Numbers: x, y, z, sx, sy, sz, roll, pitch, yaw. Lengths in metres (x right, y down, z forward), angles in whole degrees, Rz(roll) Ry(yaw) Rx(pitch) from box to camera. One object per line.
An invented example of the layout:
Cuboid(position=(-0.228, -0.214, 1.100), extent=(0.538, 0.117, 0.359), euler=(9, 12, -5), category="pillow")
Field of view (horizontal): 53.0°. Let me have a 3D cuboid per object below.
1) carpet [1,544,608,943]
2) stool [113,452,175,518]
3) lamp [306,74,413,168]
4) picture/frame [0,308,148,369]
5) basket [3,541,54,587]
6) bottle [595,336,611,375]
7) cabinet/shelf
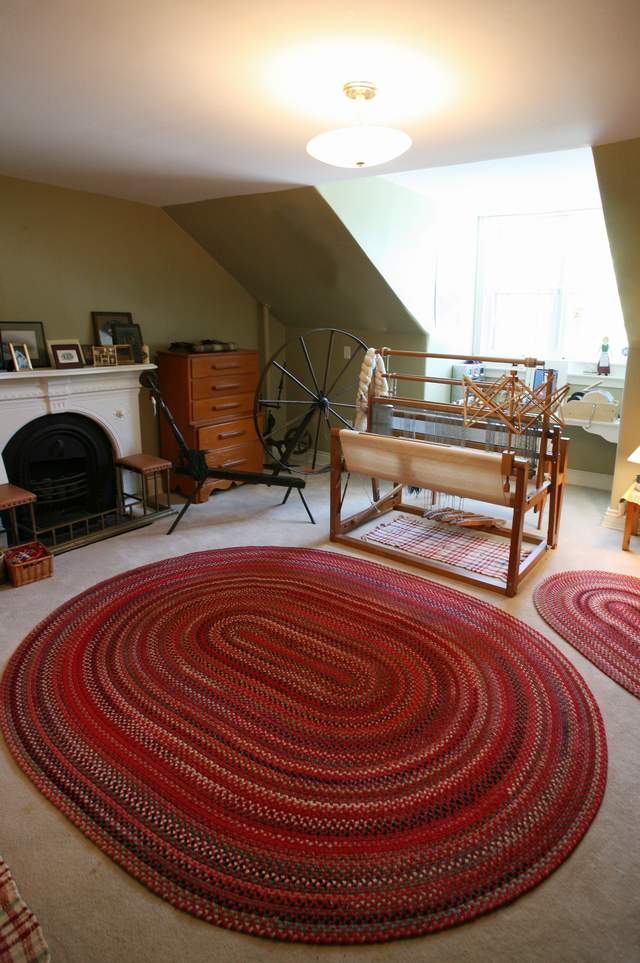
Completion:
Cuboid(position=(-0.076, 0.744, 2.279), extent=(1.984, 0.084, 1.670), euler=(12, 19, 42), category="carpet")
Cuboid(position=(-1.189, 0.027, 4.277), extent=(0.249, 0.422, 0.273), euler=(25, 37, 37), category="stool")
Cuboid(position=(0.165, -1.282, 2.344), extent=(0.341, 0.228, 0.560), euler=(3, 14, 12), category="lamp")
Cuboid(position=(-1.512, -0.899, 3.990), extent=(0.252, 0.338, 1.090), euler=(9, 17, 35), category="picture/frame")
Cuboid(position=(-1.473, 0.404, 3.229), extent=(0.164, 0.098, 0.230), euler=(-14, 21, -37), category="basket")
Cuboid(position=(2.010, -0.887, 4.527), extent=(0.095, 0.252, 0.086), euler=(3, 14, 12), category="bottle")
Cuboid(position=(-0.787, -0.402, 4.537), extent=(0.438, 1.054, 0.817), euler=(16, 25, 36), category="cabinet/shelf")
